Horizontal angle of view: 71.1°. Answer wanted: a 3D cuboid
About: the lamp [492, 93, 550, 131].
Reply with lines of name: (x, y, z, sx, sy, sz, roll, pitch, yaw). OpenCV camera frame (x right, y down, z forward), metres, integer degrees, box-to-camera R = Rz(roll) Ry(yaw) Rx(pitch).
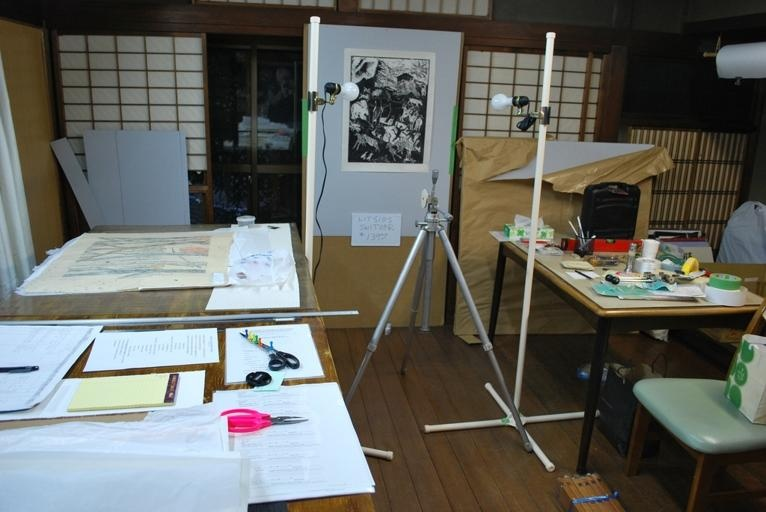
lamp: (0.790, -0.828, 3.096, 0.341, 0.212, 0.141, 7, 12, 12)

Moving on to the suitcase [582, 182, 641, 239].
suitcase: (1.658, -0.332, 3.915, 0.425, 0.467, 0.180, 0, 17, -2)

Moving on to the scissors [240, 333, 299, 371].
scissors: (-0.487, 0.387, 2.282, 0.097, 0.047, 0.317, -4, 17, -34)

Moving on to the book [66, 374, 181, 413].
book: (-0.972, 0.516, 2.036, 0.375, 0.057, 0.162, -1, 17, -7)

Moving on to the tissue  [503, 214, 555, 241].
tissue : (1.128, -0.209, 4.183, 0.311, 0.184, 0.220, 1, 9, 3)

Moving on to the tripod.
tripod: (0.423, 0.373, 4.096, 1.406, 2.110, 1.364, -3, 27, -8)

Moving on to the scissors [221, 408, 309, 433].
scissors: (-0.429, 0.564, 1.932, 0.262, 0.058, 0.111, 0, 22, -10)

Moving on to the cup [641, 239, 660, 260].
cup: (1.786, -0.048, 3.528, 0.120, 0.136, 0.118, 5, 10, -1)

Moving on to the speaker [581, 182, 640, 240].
speaker: (1.654, -0.327, 3.912, 0.420, 0.465, 0.184, 0, 21, -1)

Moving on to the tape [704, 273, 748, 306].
tape: (1.983, 0.192, 3.114, 0.186, 0.131, 0.186, -1, 10, -2)
